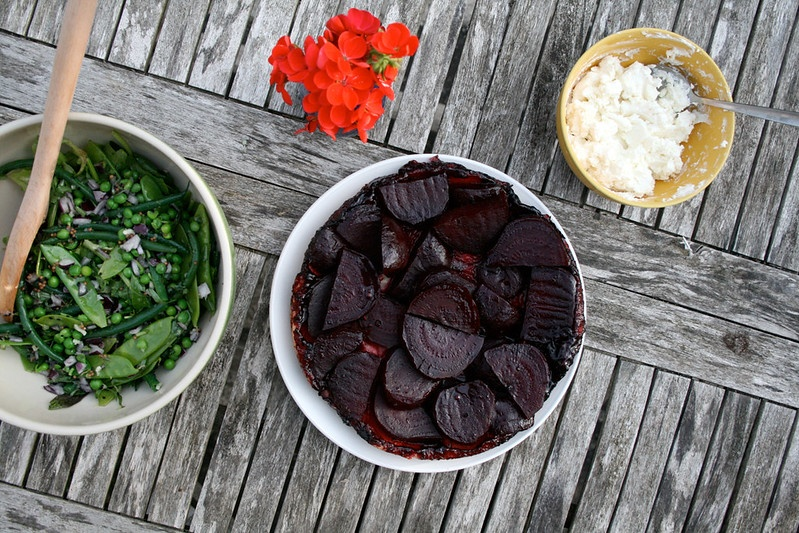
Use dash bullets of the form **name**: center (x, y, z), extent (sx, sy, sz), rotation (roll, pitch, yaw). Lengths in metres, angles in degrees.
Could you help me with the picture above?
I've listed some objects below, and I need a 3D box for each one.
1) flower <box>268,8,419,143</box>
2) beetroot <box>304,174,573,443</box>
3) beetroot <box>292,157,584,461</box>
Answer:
- **flower**: center (-0.196, -0.642, 2.576), extent (0.502, 0.393, 0.359), rotation (33, 51, 27)
- **beetroot**: center (0.117, 0.127, 2.332), extent (0.725, 0.243, 0.776), rotation (10, 97, -3)
- **beetroot**: center (0.071, 0.061, 2.340), extent (0.826, 0.282, 0.891), rotation (19, 94, -6)
